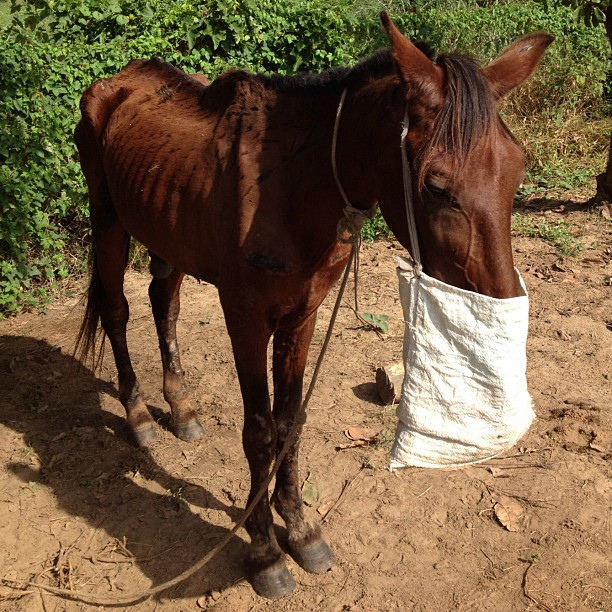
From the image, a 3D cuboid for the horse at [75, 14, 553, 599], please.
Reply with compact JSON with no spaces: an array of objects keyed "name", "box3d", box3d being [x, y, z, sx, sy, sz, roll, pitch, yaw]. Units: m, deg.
[{"name":"horse","box3d":[-0.227,-0.244,3.769,0.905,2.245,3.591,-12,23,-27]}]
